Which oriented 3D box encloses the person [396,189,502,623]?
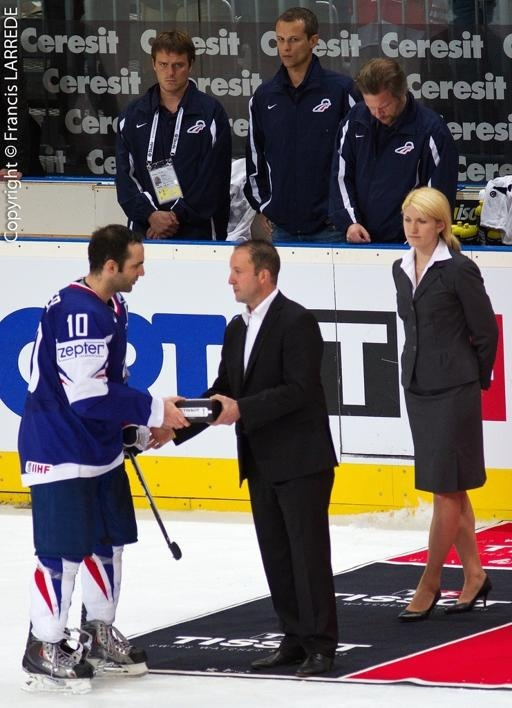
[{"bbox_3d":[0.813,0.212,3.977,0.435,1.812,0.265,-2,2,13],"label":"person"}]

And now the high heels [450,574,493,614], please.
[{"bbox_3d":[0.946,1.070,4.115,0.252,0.165,0.098,-9,-5,-3],"label":"high heels"}]

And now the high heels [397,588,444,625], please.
[{"bbox_3d":[0.719,1.090,3.987,0.234,0.088,0.082,1,-9,-44],"label":"high heels"}]

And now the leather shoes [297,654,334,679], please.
[{"bbox_3d":[0.209,1.094,3.225,0.051,0.056,0.141,-17,-18,33],"label":"leather shoes"}]

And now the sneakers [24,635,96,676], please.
[{"bbox_3d":[-0.685,1.055,3.241,0.252,0.147,0.152,5,-5,18],"label":"sneakers"}]

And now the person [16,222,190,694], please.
[{"bbox_3d":[-0.588,0.359,3.315,0.551,1.261,0.421,-3,2,-22],"label":"person"}]

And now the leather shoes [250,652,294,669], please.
[{"bbox_3d":[0.065,1.119,3.366,0.170,0.066,0.054,1,-2,-18],"label":"leather shoes"}]

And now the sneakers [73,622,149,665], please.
[{"bbox_3d":[-0.522,1.057,3.389,0.298,0.146,0.100,-3,0,29],"label":"sneakers"}]
